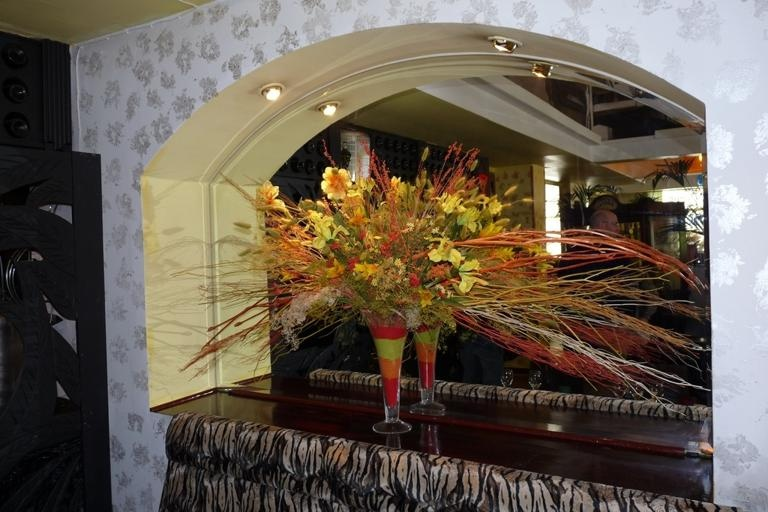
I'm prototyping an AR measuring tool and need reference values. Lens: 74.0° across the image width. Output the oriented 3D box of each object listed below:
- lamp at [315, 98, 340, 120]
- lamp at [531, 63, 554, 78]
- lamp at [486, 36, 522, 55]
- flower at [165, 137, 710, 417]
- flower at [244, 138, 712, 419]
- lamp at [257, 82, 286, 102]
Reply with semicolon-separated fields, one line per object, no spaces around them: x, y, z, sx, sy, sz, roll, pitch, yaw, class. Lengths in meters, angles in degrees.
-0.301;-0.799;2.743;0.104;0.091;0.034;4;36;12;lamp
0.694;-0.818;2.246;0.084;0.052;0.062;0;6;-10;lamp
0.527;-0.921;2.194;0.117;0.045;0.131;-4;-7;40;lamp
0.143;0.005;2.532;2.221;1.054;1.130;1;9;11;flower
0.462;0.080;2.342;1.165;0.876;1.901;-8;8;-44;flower
-0.582;-0.853;2.628;0.094;0.029;0.084;-2;-29;-6;lamp
